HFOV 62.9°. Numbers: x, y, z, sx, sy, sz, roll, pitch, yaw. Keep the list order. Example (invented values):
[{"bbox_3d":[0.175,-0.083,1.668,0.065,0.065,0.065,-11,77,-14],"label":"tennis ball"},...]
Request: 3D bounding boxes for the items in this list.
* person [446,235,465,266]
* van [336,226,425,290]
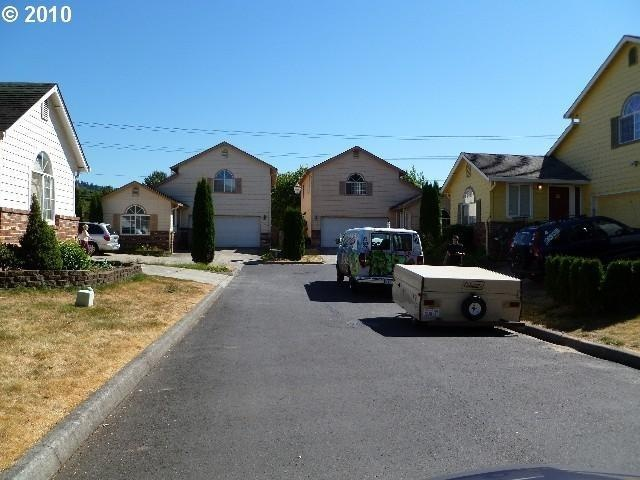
[{"bbox_3d":[4.923,0.416,19.043,0.590,1.118,1.635,1,3,14],"label":"person"},{"bbox_3d":[1.719,0.552,17.822,1.484,1.517,3.269,0,2,-7],"label":"van"}]
